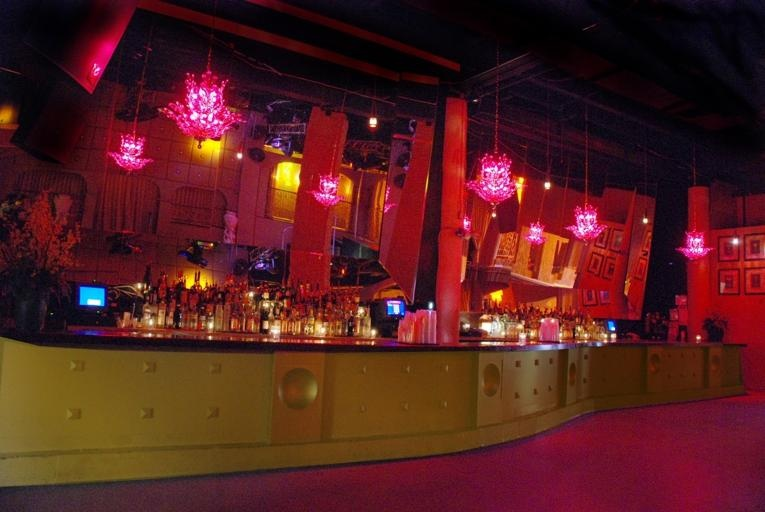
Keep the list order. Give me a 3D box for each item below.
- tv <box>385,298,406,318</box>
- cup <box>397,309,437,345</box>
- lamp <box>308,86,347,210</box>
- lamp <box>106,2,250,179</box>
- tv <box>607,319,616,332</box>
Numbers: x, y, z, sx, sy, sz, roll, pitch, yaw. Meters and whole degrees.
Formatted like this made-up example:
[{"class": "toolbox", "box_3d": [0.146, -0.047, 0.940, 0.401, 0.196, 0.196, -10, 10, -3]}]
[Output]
[{"class": "tv", "box_3d": [0.155, 0.786, 9.102, 0.225, 0.215, 0.116, 9, -25, -25]}, {"class": "cup", "box_3d": [0.404, 0.769, 6.880, 0.445, 0.466, 0.341, 4, 1, 6]}, {"class": "lamp", "box_3d": [-0.802, -1.395, 8.913, 0.430, 1.400, 0.878, 2, 12, -7]}, {"class": "lamp", "box_3d": [-2.796, -2.213, 8.087, 1.633, 1.998, 0.651, -16, -24, 32]}, {"class": "tv", "box_3d": [4.399, 1.365, 11.888, 0.171, 0.175, 0.085, 15, -34, -40]}]
